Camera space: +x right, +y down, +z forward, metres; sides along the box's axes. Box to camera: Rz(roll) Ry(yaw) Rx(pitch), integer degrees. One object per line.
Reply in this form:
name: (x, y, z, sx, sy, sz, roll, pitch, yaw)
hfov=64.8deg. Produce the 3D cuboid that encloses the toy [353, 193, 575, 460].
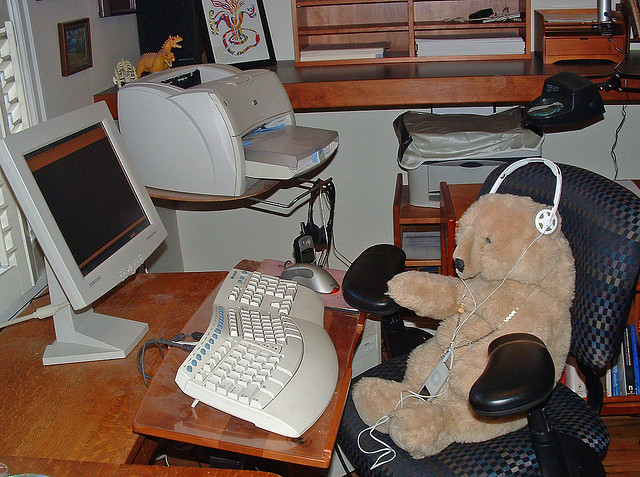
toy: (0.304, 0.165, 1.374, 0.528, 0.659, 0.484, -13, 21, -24)

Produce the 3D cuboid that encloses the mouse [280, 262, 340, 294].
mouse: (-0.036, 0.096, 1.516, 0.181, 0.065, 0.103, 15, 26, 29)

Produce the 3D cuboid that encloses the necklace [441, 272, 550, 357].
necklace: (0.436, 0.194, 1.307, 0.210, 0.150, 0.225, 17, 27, 38)

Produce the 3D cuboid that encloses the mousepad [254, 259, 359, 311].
mousepad: (-0.051, 0.078, 1.554, 0.375, 0.132, 0.275, -2, 16, -16)

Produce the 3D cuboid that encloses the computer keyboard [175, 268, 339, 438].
computer keyboard: (-0.131, 0.241, 1.216, 0.334, 0.094, 0.561, 3, 23, -5)

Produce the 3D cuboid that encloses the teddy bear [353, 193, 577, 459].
teddy bear: (0.349, 0.228, 1.363, 0.446, 0.719, 0.424, -10, 11, -23)

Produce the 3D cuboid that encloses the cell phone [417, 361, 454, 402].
cell phone: (0.308, 0.360, 1.295, 0.118, 0.021, 0.055, -53, 31, 4)

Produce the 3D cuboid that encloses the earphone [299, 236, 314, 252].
earphone: (-0.045, 0.014, 1.542, 0.040, 0.042, 0.015, -12, 15, -14)

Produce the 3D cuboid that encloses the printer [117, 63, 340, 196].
printer: (-0.292, -0.368, 1.696, 0.608, 0.356, 0.466, 11, 29, 22)

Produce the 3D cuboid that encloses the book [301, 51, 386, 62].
book: (0.095, -0.830, 2.301, 0.371, 0.030, 0.039, 0, 27, 9)

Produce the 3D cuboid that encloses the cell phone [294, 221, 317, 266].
cell phone: (-0.049, 0.028, 1.559, 0.062, 0.159, 0.140, -6, 27, -3)

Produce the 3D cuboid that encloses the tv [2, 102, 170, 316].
tv: (-0.626, -0.074, 1.325, 0.202, 0.482, 0.479, -2, 26, 17)
